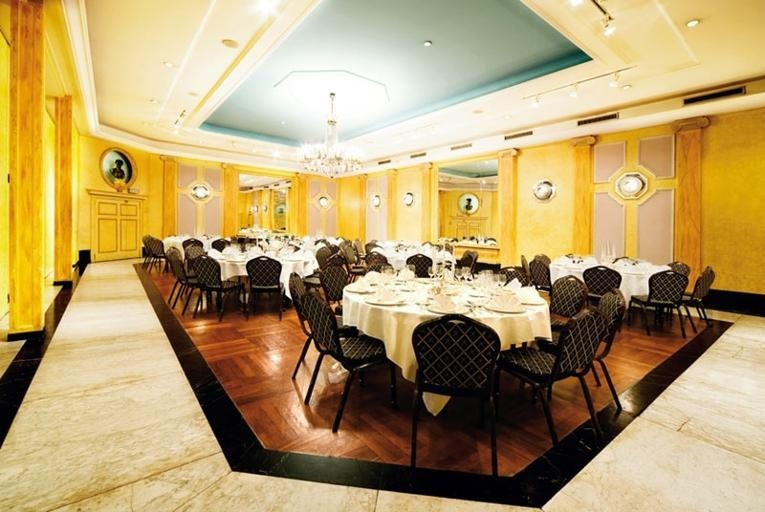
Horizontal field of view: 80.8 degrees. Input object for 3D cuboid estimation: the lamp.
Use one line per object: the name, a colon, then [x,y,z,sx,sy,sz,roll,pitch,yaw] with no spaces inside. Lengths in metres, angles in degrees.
lamp: [-1.125,-2.546,9.803,1.395,1.962,1.409,0,-2,-7]

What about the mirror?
mirror: [2.890,-1.824,14.877,2.432,3.406,0.170,4,10,22]
